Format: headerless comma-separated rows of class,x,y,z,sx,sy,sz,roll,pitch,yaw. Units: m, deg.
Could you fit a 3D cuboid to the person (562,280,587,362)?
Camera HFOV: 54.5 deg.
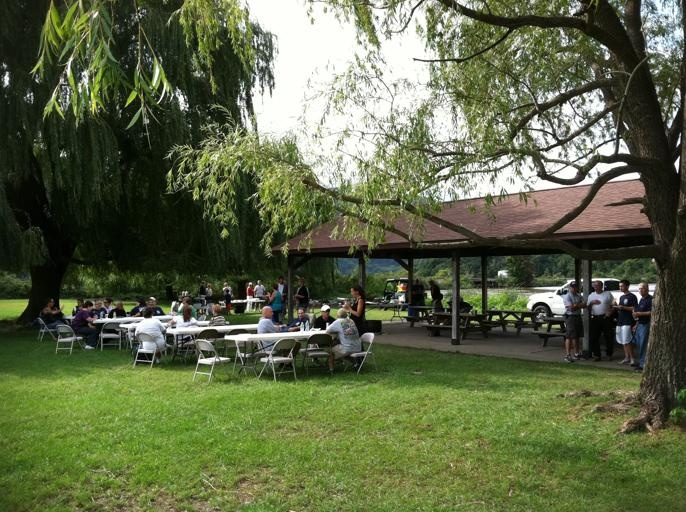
person,5.637,1.619,16.299,0.425,1.941,1.567,1,6,19

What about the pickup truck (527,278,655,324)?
pickup truck,7.228,1.348,19.752,3.464,1.647,1.737,0,-2,31

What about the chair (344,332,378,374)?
chair,0.444,2.248,15.264,0.744,1.168,0.559,8,-10,-40

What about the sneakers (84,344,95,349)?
sneakers,-6.944,2.514,18.222,0.252,0.145,0.122,-4,-7,22

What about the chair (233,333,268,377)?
chair,-1.991,2.199,14.946,0.621,0.998,0.576,-7,-12,42

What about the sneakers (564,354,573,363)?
sneakers,5.466,2.484,16.098,0.129,0.197,0.371,-1,0,43

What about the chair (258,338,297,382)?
chair,-1.356,2.151,13.937,0.557,1.003,0.685,1,3,-29

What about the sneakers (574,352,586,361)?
sneakers,5.794,2.494,16.350,0.304,0.169,0.126,-3,-3,18

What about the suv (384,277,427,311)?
suv,3.174,1.824,34.061,2.216,1.644,1.383,-7,-7,43

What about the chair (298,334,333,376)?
chair,-0.572,2.114,14.654,0.531,1.078,0.688,-1,11,-18

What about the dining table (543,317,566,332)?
dining table,6.133,2.008,19.355,0.496,0.230,0.874,-2,-4,11
